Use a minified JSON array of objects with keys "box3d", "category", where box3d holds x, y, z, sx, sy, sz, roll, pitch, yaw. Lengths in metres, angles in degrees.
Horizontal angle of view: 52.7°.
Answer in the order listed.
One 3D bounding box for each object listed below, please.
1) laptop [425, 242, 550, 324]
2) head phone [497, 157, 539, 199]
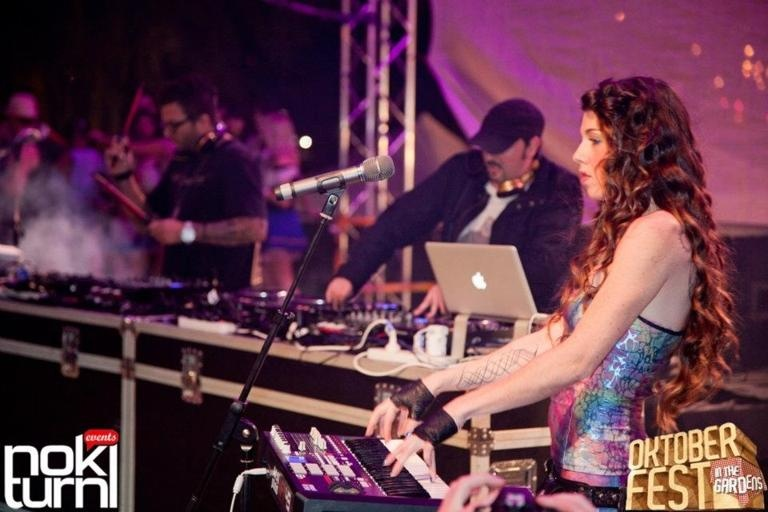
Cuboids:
[{"box3d":[0.529,0.135,4.314,0.453,0.425,0.640,-6,7,-26],"category":"laptop"},{"box3d":[0.945,-0.510,5.427,0.216,0.277,0.103,42,2,23],"category":"head phone"}]
